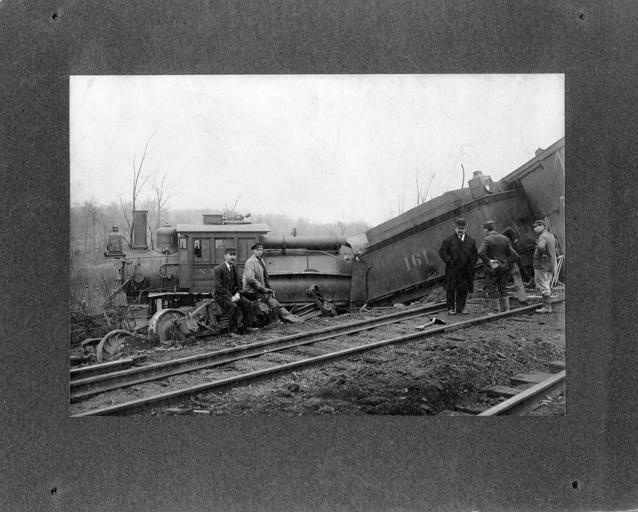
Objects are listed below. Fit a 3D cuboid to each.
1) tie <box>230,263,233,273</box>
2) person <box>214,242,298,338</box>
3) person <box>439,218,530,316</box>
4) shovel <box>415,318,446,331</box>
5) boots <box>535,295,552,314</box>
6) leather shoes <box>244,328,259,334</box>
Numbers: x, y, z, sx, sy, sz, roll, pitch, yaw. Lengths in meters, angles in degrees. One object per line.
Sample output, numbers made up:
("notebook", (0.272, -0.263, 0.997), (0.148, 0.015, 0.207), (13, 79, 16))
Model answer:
("tie", (-0.790, 0.103, 5.429), (0.027, 0.050, 0.016), (1, -3, 3))
("person", (-0.628, 0.292, 5.888), (0.850, 1.120, 0.524), (-2, 3, -9))
("person", (1.506, 0.095, 5.370), (0.637, 0.970, 0.306), (-1, 3, 8))
("shovel", (0.995, 0.605, 5.367), (0.264, 0.104, 0.063), (-4, 0, 12))
("boots", (1.962, 0.434, 5.266), (0.139, 0.171, 0.082), (1, -4, 22))
("leather shoes", (-0.600, 0.673, 5.416), (0.123, 0.068, 0.050), (0, -1, 5))
